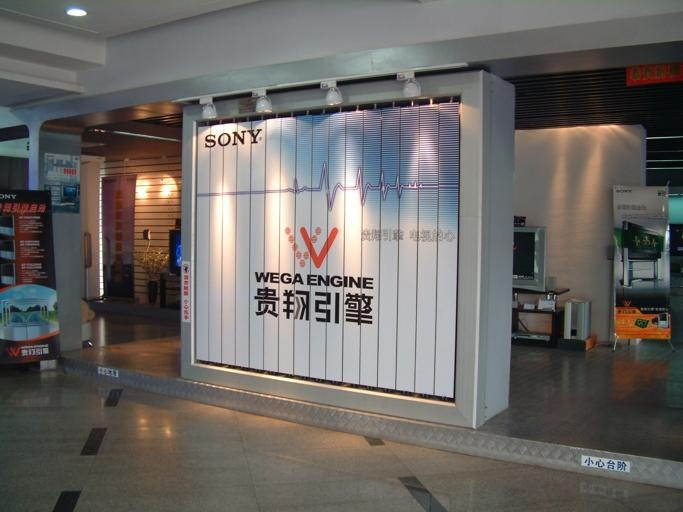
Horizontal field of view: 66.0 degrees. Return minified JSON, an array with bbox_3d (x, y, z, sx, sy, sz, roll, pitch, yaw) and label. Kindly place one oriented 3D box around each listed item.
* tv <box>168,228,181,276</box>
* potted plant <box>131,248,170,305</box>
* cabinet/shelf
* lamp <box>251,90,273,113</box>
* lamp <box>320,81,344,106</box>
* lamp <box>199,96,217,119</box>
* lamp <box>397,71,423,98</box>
[{"bbox_3d":[-3.986,-0.108,12.604,0.349,1.057,0.121,3,7,34],"label":"tv"},{"bbox_3d":[-4.708,0.452,13.095,1.254,1.640,0.674,-4,-7,39],"label":"potted plant"},{"bbox_3d":[3.478,1.039,9.339,0.851,0.978,0.458,2,7,23],"label":"cabinet/shelf"},{"bbox_3d":[-0.927,-1.819,6.152,0.225,0.270,0.326,-2,6,-9],"label":"lamp"},{"bbox_3d":[-0.099,-1.779,5.806,0.282,0.299,0.195,-1,1,13],"label":"lamp"},{"bbox_3d":[-1.645,-1.830,6.509,0.207,0.266,0.343,-2,6,-14],"label":"lamp"},{"bbox_3d":[0.707,-1.757,5.367,0.283,0.292,0.202,0,4,22],"label":"lamp"}]
